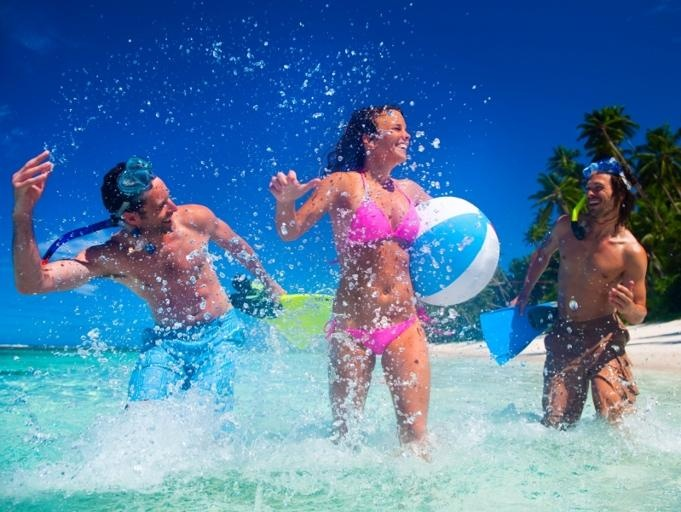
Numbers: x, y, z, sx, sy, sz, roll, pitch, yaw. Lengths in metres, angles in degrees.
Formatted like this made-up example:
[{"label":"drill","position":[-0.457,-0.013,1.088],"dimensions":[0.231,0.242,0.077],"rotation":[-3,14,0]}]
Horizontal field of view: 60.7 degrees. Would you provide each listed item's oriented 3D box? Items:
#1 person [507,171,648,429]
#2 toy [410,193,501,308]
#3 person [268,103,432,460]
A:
[{"label":"person","position":[2.313,0.379,5.521],"dimensions":[1.037,2.380,0.833],"rotation":[0,1,33]},{"label":"toy","position":[1.005,0.038,5.271],"dimensions":[0.753,0.930,0.760],"rotation":[-5,4,-22]},{"label":"person","position":[0.153,0.091,4.701],"dimensions":[1.079,2.720,1.107],"rotation":[0,1,4]}]
